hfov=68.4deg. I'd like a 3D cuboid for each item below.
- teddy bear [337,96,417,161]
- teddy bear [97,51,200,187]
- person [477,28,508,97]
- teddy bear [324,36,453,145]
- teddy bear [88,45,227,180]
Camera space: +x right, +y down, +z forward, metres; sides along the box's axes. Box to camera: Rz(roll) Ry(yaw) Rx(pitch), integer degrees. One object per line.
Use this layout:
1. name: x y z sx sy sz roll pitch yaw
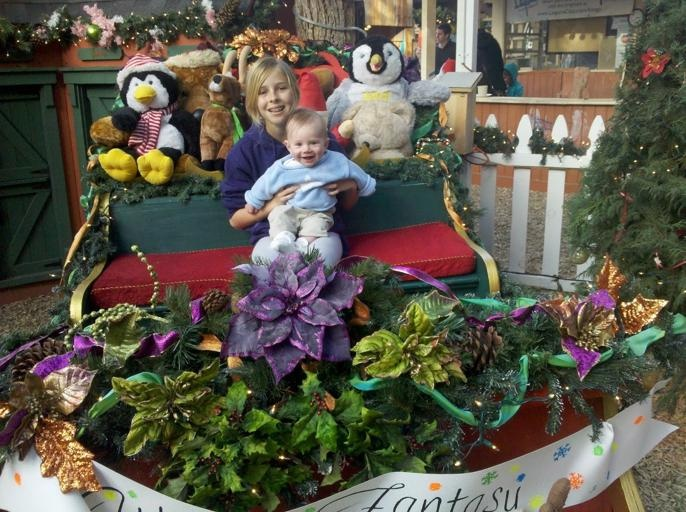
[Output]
1. teddy bear: 0.208 -0.787 3.173 0.458 0.535 0.372 -3 44 3
2. teddy bear: -1.158 -0.812 2.925 0.511 0.722 0.546 10 26 13
3. person: 2.177 -2.888 7.513 0.402 0.947 1.224 6 16 22
4. teddy bear: 0.282 -1.079 3.339 0.941 0.775 0.481 2 33 11
5. teddy bear: -1.081 -0.883 3.017 0.671 0.774 0.780 21 28 34
